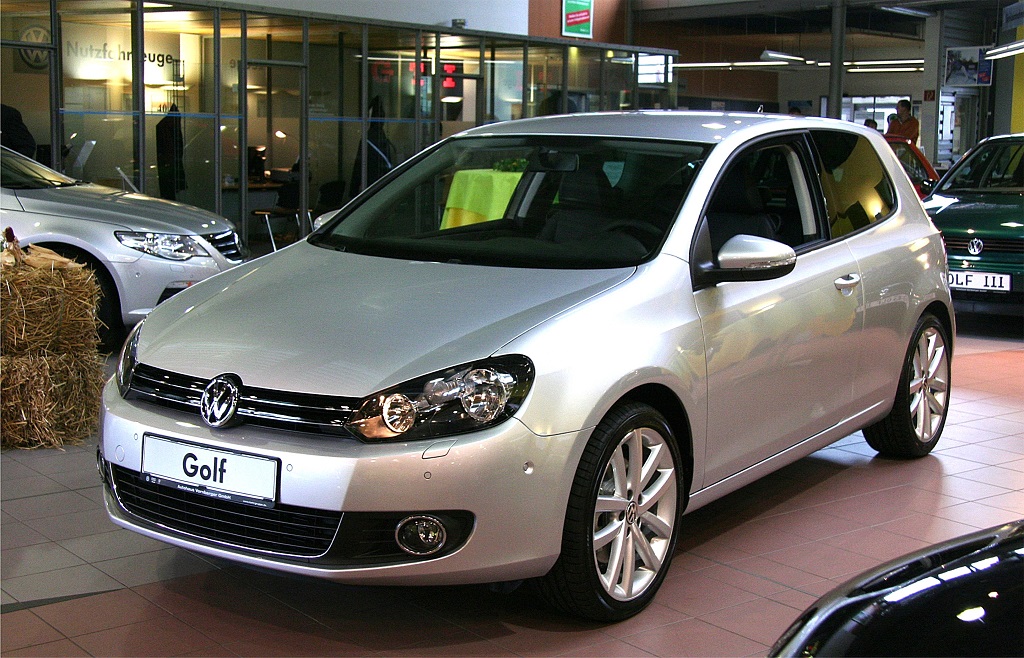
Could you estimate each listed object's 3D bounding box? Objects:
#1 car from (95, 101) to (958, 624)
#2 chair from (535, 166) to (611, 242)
[{"bbox_3d":[0.482,0.042,4.056,2.513,1.629,4.195,6,10,41],"label":"car"},{"bbox_3d":[0.351,-0.663,3.982,0.384,0.449,0.546,8,16,25],"label":"chair"}]
